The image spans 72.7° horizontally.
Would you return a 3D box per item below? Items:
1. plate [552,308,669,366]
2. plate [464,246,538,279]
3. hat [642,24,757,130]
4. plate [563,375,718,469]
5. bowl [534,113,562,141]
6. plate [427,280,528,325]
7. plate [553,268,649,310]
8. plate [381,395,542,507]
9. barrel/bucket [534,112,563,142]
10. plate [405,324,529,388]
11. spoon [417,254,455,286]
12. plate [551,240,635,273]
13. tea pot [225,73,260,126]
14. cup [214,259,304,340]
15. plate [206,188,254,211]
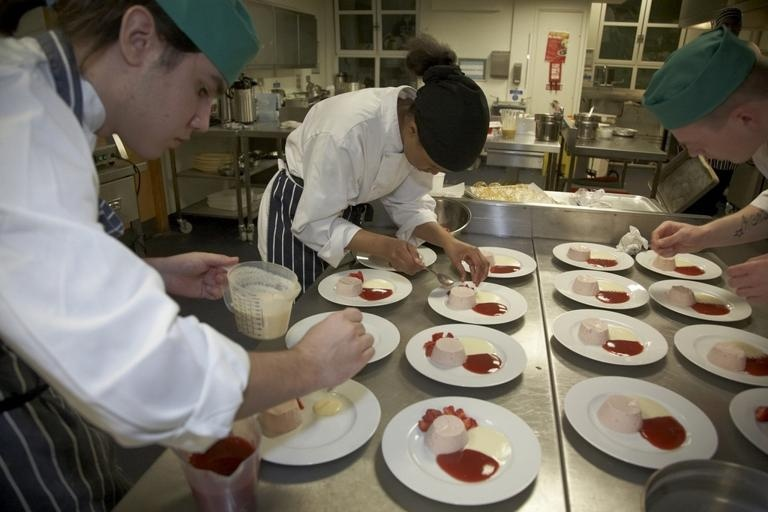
[{"bbox_3d":[0.729,0.261,1.690,0.346,0.039,0.360,-2,21,0],"label":"plate"},{"bbox_3d":[0.525,0.034,2.162,0.175,0.022,0.186,-15,32,-26],"label":"plate"},{"bbox_3d":[1.015,-0.559,1.677,0.303,0.316,0.157,10,21,24],"label":"hat"},{"bbox_3d":[0.664,0.427,1.375,0.357,0.065,0.299,-3,20,-12],"label":"plate"},{"bbox_3d":[1.605,-1.273,5.194,0.227,0.253,0.284,-2,16,-6],"label":"bowl"},{"bbox_3d":[0.335,0.177,1.832,0.359,0.029,0.331,27,-36,-35],"label":"plate"},{"bbox_3d":[0.821,0.130,1.973,0.326,0.037,0.342,2,22,6],"label":"plate"},{"bbox_3d":[0.189,0.470,1.293,0.381,0.083,0.294,6,20,12],"label":"plate"},{"bbox_3d":[1.588,-1.276,5.191,0.242,0.272,0.301,-4,15,-13],"label":"barrel/bucket"},{"bbox_3d":[0.247,0.302,1.595,0.361,0.063,0.287,4,19,7],"label":"plate"},{"bbox_3d":[0.176,0.042,2.064,0.042,0.062,0.301,-40,32,-2],"label":"spoon"},{"bbox_3d":[0.907,-0.001,2.252,0.315,0.065,0.297,15,23,34],"label":"plate"},{"bbox_3d":[-1.327,-1.508,5.022,0.273,0.422,0.277,0,19,0],"label":"tea pot"},{"bbox_3d":[-0.355,0.109,1.549,0.232,0.175,0.195,20,32,24],"label":"cup"},{"bbox_3d":[-1.553,-0.546,5.167,0.310,0.107,0.341,0,11,8],"label":"plate"}]
